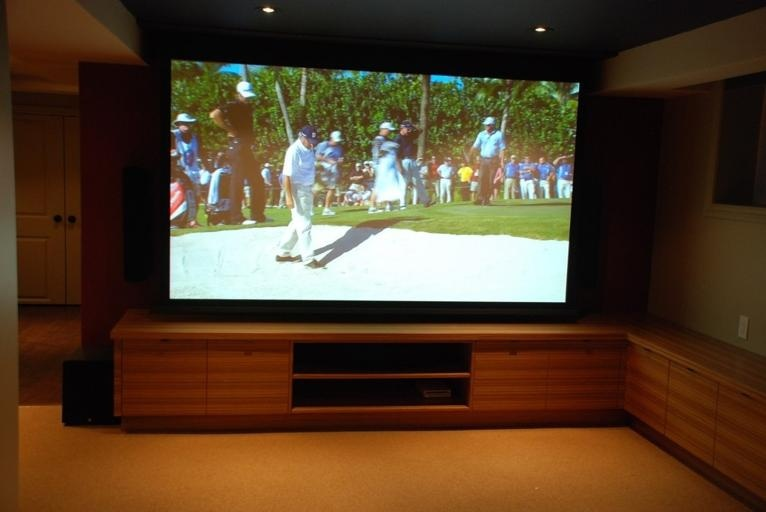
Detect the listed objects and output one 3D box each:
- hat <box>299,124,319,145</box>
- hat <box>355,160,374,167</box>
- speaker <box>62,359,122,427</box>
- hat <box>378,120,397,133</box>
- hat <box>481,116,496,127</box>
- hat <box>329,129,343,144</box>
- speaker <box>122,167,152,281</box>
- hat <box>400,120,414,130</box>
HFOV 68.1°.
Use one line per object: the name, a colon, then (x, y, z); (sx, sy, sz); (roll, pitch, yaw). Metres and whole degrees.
hat: (-0.578, -0.926, 4.360); (0.152, 0.086, 0.108); (41, 37, 17)
hat: (-0.133, -0.713, 4.405); (0.077, 0.033, 0.073); (19, -26, -34)
speaker: (-2.149, 1.015, 4.360); (0.523, 0.471, 0.433); (-2, -4, -3)
hat: (0.032, -0.999, 4.382); (0.099, 0.049, 0.071); (-12, 28, -23)
hat: (0.833, -1.057, 4.459); (0.093, 0.046, 0.068); (-6, 14, -42)
hat: (-0.377, -0.911, 4.341); (0.073, 0.051, 0.100); (5, 26, 6)
speaker: (-1.890, -0.245, 4.387); (0.230, 0.921, 0.101); (-1, -2, -4)
hat: (0.185, -1.015, 4.395); (0.091, 0.044, 0.058); (-2, 16, -9)
